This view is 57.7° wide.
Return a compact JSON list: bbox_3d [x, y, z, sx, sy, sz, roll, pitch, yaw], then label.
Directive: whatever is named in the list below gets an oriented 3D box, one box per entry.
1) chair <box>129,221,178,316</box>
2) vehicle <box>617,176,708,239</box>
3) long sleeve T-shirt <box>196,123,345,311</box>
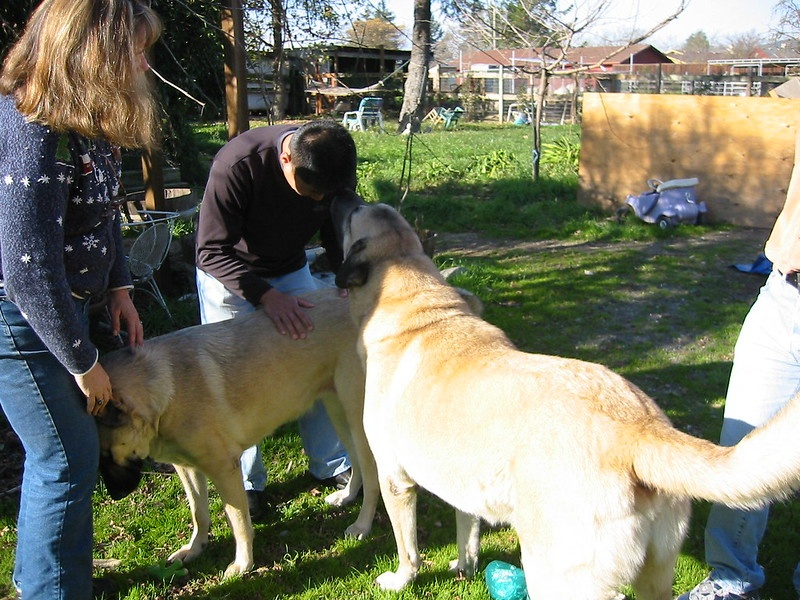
[{"bbox_3d":[-2.486,-0.278,7.250,0.632,0.897,0.624,-7,29,-32],"label":"chair"},{"bbox_3d":[4.328,-1.593,11.932,0.741,0.869,1.430,-9,16,-16],"label":"vehicle"},{"bbox_3d":[-0.753,-0.593,4.893,1.058,1.154,0.967,-6,49,-29],"label":"long sleeve T-shirt"}]
